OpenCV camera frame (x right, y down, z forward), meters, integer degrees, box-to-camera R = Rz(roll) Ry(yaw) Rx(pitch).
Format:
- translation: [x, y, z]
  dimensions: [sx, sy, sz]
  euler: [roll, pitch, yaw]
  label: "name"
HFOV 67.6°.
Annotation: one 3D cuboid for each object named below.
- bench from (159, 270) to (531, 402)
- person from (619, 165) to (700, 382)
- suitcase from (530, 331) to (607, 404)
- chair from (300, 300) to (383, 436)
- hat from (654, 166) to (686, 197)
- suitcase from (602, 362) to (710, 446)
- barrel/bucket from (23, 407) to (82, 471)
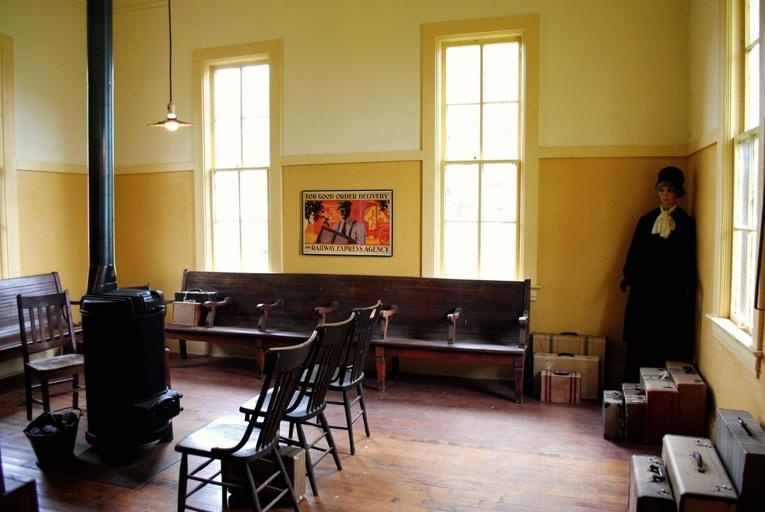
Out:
- translation: [-0.591, 0.857, 6.574]
  dimensions: [4.298, 1.374, 0.819]
  euler: [2, -4, 12]
  label: "bench"
- translation: [2.920, 0.204, 6.020]
  dimensions: [0.707, 2.276, 0.315]
  euler: [2, 4, 19]
  label: "person"
- translation: [2.133, 1.146, 6.513]
  dimensions: [0.900, 0.866, 0.655]
  euler: [1, 1, 17]
  label: "suitcase"
- translation: [-0.490, 1.069, 5.286]
  dimensions: [0.867, 1.241, 0.761]
  euler: [3, 4, 30]
  label: "chair"
- translation: [3.048, -0.813, 5.977]
  dimensions: [0.349, 0.270, 0.268]
  euler: [22, -14, -39]
  label: "hat"
- translation: [2.626, 1.371, 5.558]
  dimensions: [0.773, 0.575, 0.771]
  euler: [-1, 1, 12]
  label: "suitcase"
- translation: [-2.905, 1.630, 5.049]
  dimensions: [0.465, 0.404, 0.418]
  euler: [8, 14, 27]
  label: "barrel/bucket"
